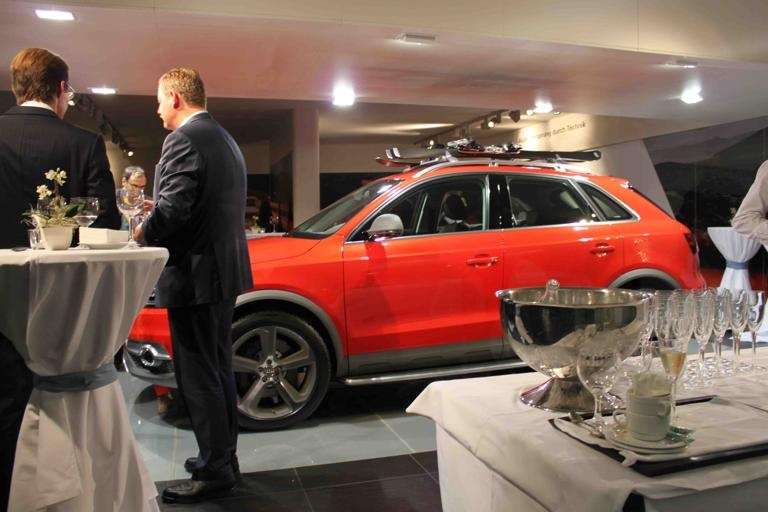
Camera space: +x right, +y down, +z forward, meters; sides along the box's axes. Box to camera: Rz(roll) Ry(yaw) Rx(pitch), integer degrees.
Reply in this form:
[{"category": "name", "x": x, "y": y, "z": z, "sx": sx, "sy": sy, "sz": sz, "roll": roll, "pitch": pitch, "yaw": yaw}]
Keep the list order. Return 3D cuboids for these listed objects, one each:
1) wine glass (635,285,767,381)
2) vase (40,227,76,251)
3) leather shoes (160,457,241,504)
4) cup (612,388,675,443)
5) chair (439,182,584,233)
[{"category": "wine glass", "x": 1.382, "y": 0.334, "z": 2.408, "sx": 1.010, "sy": 0.339, "sz": 0.291, "roll": -4, "pitch": 6, "yaw": -41}, {"category": "vase", "x": -1.505, "y": -0.084, "z": 2.428, "sx": 0.133, "sy": 0.090, "sz": 0.119, "roll": 5, "pitch": -8, "yaw": -38}, {"category": "leather shoes", "x": -1.075, "y": 1.366, "z": 3.207, "sx": 0.522, "sy": 0.198, "sz": 0.178, "roll": 3, "pitch": 1, "yaw": -26}, {"category": "cup", "x": 0.852, "y": 0.541, "z": 1.777, "sx": 0.192, "sy": 0.128, "sz": 0.135, "roll": -6, "pitch": -9, "yaw": 44}, {"category": "chair", "x": 0.998, "y": -0.461, "z": 4.518, "sx": 0.856, "sy": 0.339, "sz": 0.495, "roll": 0, "pitch": 11, "yaw": -6}]
